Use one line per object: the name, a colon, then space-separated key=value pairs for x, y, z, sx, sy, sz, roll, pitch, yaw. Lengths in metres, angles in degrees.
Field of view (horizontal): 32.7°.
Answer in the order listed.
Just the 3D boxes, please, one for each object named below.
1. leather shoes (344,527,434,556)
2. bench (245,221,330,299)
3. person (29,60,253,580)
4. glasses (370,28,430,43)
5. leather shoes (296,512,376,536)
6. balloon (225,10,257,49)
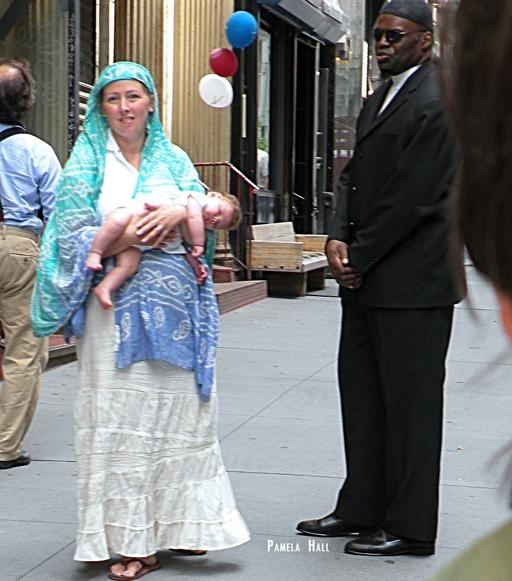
leather shoes: x=0.499 y=0.951 z=3.283 sx=0.334 sy=0.082 sz=0.105 roll=4 pitch=-11 yaw=5
bench: x=0.612 y=-0.491 z=13.222 sx=0.861 sy=0.921 sz=1.757 roll=5 pitch=10 yaw=17
person: x=-0.422 y=0.076 z=3.082 sx=0.644 sy=1.786 sz=0.530 roll=-3 pitch=7 yaw=-19
glasses: x=0.505 y=-0.937 z=3.209 sx=0.102 sy=0.024 sz=0.091 roll=-6 pitch=11 yaw=-35
leather shoes: x=0.324 y=0.939 z=3.497 sx=0.308 sy=0.095 sz=0.096 roll=4 pitch=-8 yaw=-3
balloon: x=-0.135 y=-2.767 z=9.239 sx=0.295 sy=0.357 sz=0.360 roll=-2 pitch=6 yaw=-15
